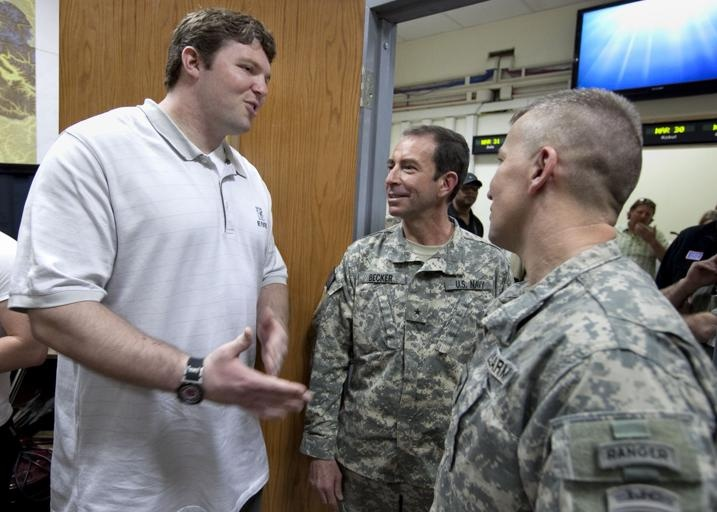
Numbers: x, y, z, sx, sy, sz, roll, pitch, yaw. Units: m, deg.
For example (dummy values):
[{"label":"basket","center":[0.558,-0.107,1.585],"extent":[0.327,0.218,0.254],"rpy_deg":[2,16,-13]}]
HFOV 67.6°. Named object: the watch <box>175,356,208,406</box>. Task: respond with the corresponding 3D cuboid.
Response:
[{"label":"watch","center":[-0.453,0.344,1.508],"extent":[0.071,0.120,0.119],"rpy_deg":[2,16,7]}]
